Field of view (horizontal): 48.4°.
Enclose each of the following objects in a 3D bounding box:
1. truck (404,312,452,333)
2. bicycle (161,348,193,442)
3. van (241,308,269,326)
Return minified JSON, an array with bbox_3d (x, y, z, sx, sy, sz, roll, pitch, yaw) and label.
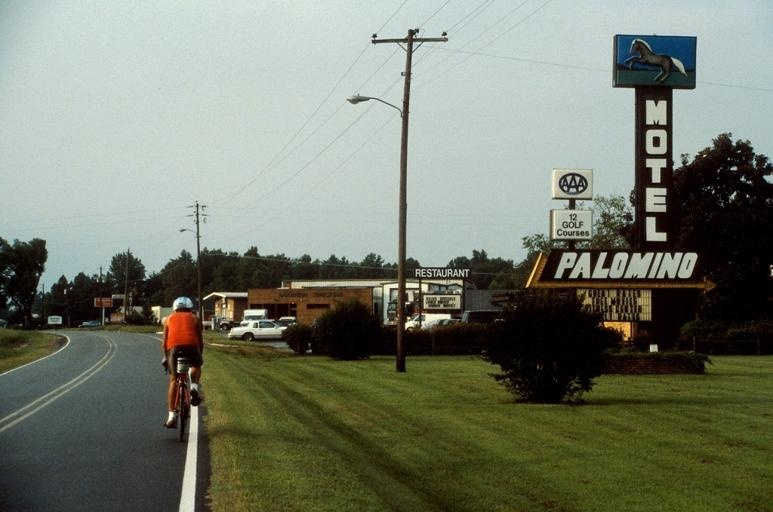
[{"bbox_3d":[3.146,5.329,72.731,3.365,2.043,2.621,1,-3,4],"label":"truck"},{"bbox_3d":[-5.453,3.660,22.487,0.546,1.837,1.111,-1,1,-14],"label":"bicycle"},{"bbox_3d":[-12.255,5.383,77.570,2.606,1.838,1.780,2,-4,1],"label":"van"}]
